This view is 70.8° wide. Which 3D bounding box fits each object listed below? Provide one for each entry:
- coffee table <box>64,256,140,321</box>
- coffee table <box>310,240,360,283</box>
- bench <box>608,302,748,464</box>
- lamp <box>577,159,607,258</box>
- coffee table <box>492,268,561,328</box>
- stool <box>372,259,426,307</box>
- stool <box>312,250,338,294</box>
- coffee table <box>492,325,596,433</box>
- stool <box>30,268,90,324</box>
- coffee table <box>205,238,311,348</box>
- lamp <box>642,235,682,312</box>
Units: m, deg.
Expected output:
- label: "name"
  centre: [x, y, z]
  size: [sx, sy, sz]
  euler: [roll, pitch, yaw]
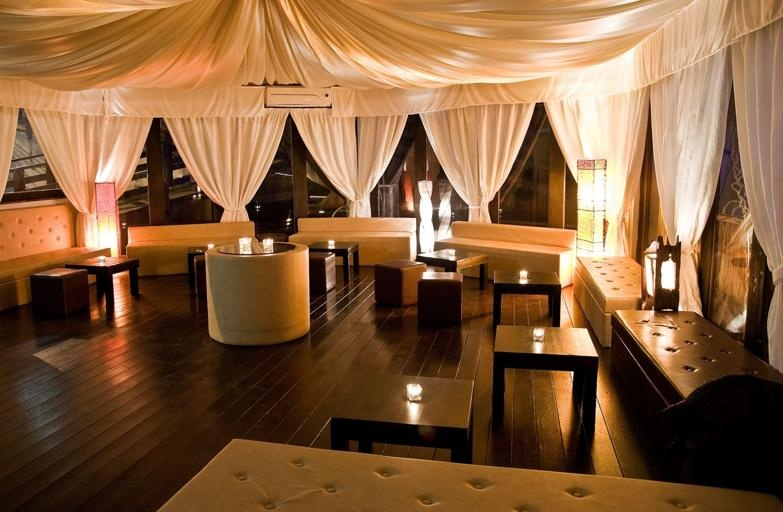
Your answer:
- label: "coffee table"
  centre: [-3.878, 0.408, 7.768]
  size: [0.842, 0.865, 0.879]
  euler: [2, 4, 22]
- label: "coffee table"
  centre: [-0.852, 0.040, 8.711]
  size: [0.684, 0.543, 0.686]
  euler: [1, 7, 18]
- label: "bench"
  centre: [2.579, 1.041, 4.809]
  size: [0.855, 0.671, 1.929]
  euler: [-4, 10, 12]
- label: "lamp"
  centre: [3.060, -0.713, 8.369]
  size: [0.316, 1.441, 0.422]
  euler: [-4, 10, -19]
- label: "coffee table"
  centre: [1.674, 0.589, 6.844]
  size: [0.887, 0.610, 0.963]
  euler: [1, 6, 23]
- label: "stool"
  centre: [0.119, 0.364, 7.546]
  size: [0.545, 0.554, 0.566]
  euler: [7, 12, 39]
- label: "stool"
  centre: [-0.961, 0.237, 8.211]
  size: [0.477, 0.508, 0.497]
  euler: [3, 11, 19]
- label: "coffee table"
  centre: [1.325, 1.047, 4.838]
  size: [0.814, 0.643, 0.800]
  euler: [0, 6, 8]
- label: "stool"
  centre: [-4.283, 0.528, 7.193]
  size: [0.620, 0.671, 0.616]
  euler: [-2, 5, -25]
- label: "coffee table"
  centre: [-1.544, 0.409, 6.448]
  size: [1.150, 1.044, 1.165]
  euler: [-1, 9, -8]
- label: "lamp"
  centre: [2.732, 0.180, 5.574]
  size: [0.287, 0.774, 0.434]
  euler: [2, 10, 13]
